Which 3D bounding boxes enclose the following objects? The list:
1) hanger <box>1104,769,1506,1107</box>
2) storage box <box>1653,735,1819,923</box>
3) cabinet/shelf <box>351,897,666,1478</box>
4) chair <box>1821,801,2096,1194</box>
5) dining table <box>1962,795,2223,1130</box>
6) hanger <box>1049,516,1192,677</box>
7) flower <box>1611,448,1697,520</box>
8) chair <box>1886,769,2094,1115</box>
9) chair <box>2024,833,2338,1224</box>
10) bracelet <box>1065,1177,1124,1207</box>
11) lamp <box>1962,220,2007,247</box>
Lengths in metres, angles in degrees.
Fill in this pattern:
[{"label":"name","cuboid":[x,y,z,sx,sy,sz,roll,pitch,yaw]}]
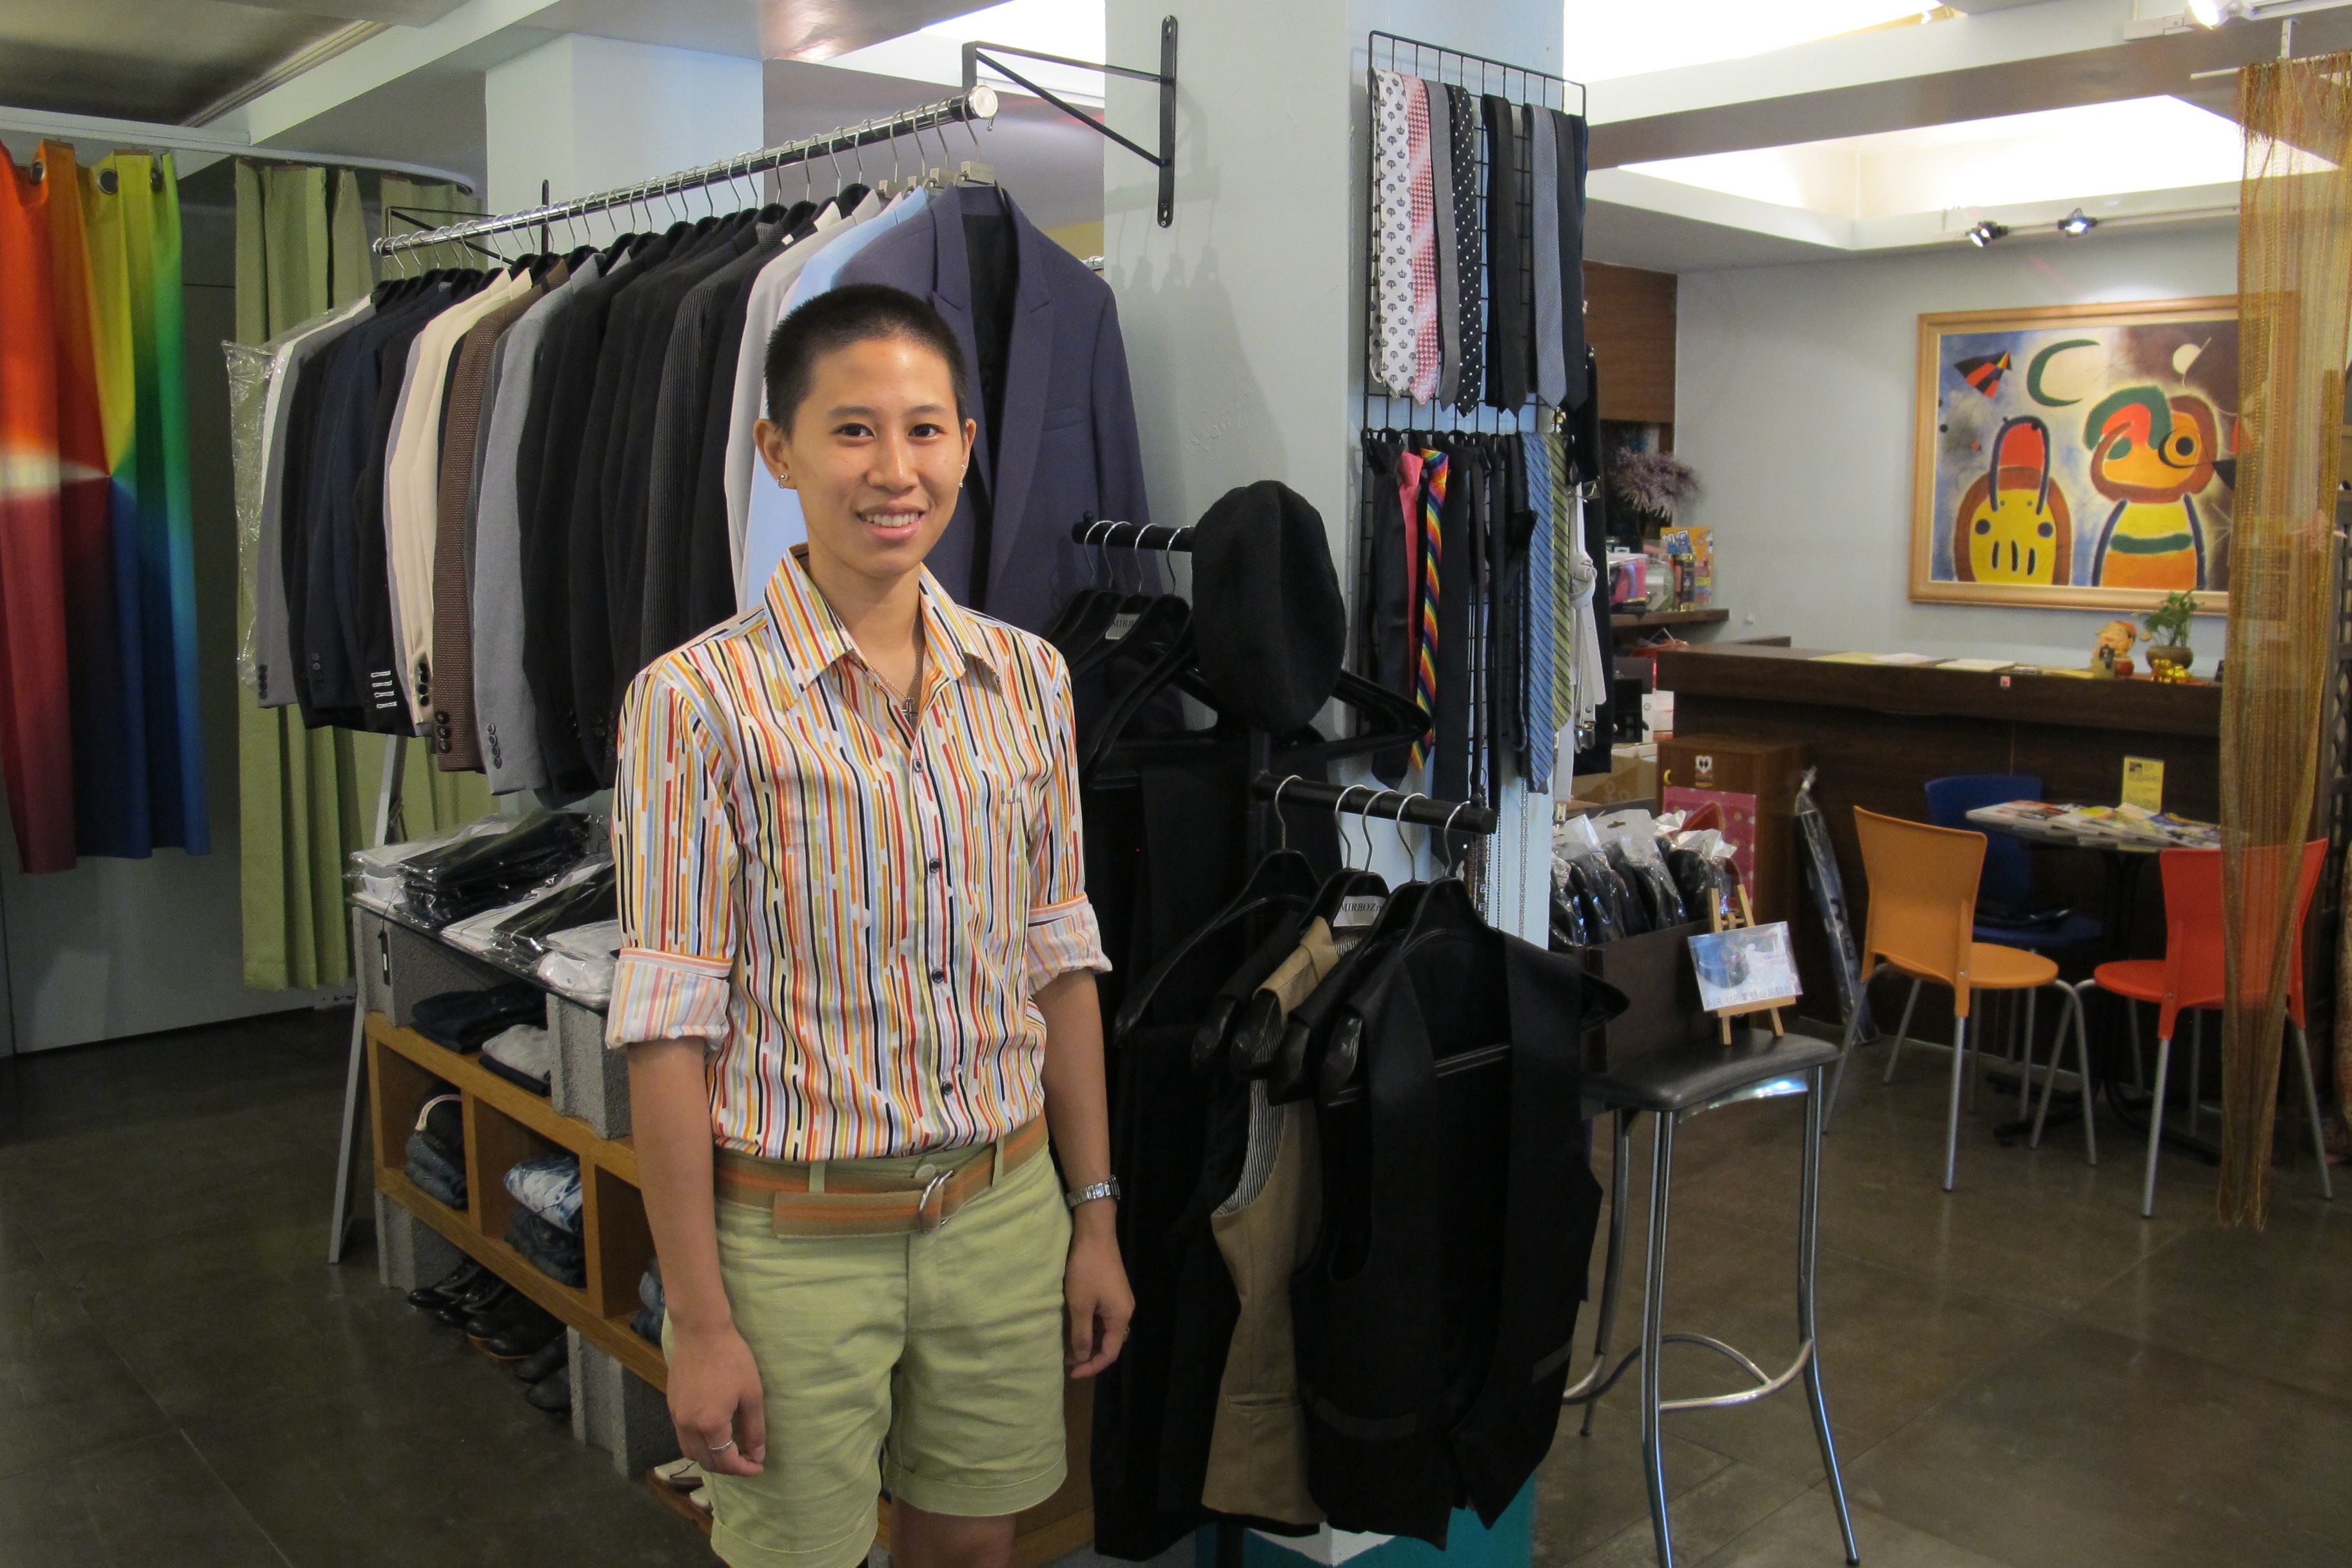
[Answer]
[{"label":"hanger","cuboid":[0.225,0.288,2.882,0.624,0.778,0.592,-3,12,-25]},{"label":"storage box","cuboid":[2.362,0.199,7.025,0.625,0.775,0.591,7,13,40]},{"label":"cabinet/shelf","cuboid":[-1.589,0.973,3.845,0.446,1.173,1.321,-6,10,-43]},{"label":"chair","cuboid":[2.958,0.808,5.975,0.836,1.519,0.908,-7,12,-16]},{"label":"dining table","cuboid":[3.413,0.438,6.029,0.632,0.626,0.653,0,19,9]},{"label":"hanger","cuboid":[-0.122,-0.372,3.189,0.191,0.232,0.338,-6,11,-42]},{"label":"flower","cuboid":[2.870,-1.799,9.727,0.444,0.418,0.483,11,12,42]},{"label":"chair","cuboid":[3.032,0.431,6.383,0.849,1.375,0.920,-6,7,-32]},{"label":"chair","cuboid":[3.471,0.705,5.390,1.071,1.218,0.733,-9,13,-38]},{"label":"bracelet","cuboid":[-0.121,0.644,2.543,0.071,0.047,0.063,6,-24,-33]},{"label":"lamp","cuboid":[4.260,-2.873,8.360,0.211,0.113,0.149,-15,15,-23]}]
